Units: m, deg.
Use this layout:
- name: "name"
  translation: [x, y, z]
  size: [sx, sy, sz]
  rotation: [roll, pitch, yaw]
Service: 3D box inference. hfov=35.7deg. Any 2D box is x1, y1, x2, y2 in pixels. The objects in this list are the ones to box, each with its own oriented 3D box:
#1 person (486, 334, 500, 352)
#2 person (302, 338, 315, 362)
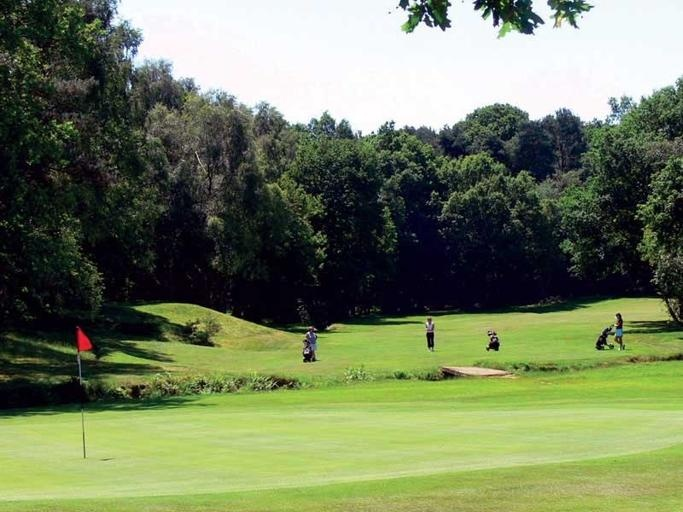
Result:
- name: "person"
  translation: [8.667, 5.021, 60.822]
  size: [0.657, 1.436, 0.656]
  rotation: [6, -12, 5]
- name: "person"
  translation: [-1.806, 5.141, 57.679]
  size: [0.626, 1.296, 1.013]
  rotation: [-2, -7, -2]
